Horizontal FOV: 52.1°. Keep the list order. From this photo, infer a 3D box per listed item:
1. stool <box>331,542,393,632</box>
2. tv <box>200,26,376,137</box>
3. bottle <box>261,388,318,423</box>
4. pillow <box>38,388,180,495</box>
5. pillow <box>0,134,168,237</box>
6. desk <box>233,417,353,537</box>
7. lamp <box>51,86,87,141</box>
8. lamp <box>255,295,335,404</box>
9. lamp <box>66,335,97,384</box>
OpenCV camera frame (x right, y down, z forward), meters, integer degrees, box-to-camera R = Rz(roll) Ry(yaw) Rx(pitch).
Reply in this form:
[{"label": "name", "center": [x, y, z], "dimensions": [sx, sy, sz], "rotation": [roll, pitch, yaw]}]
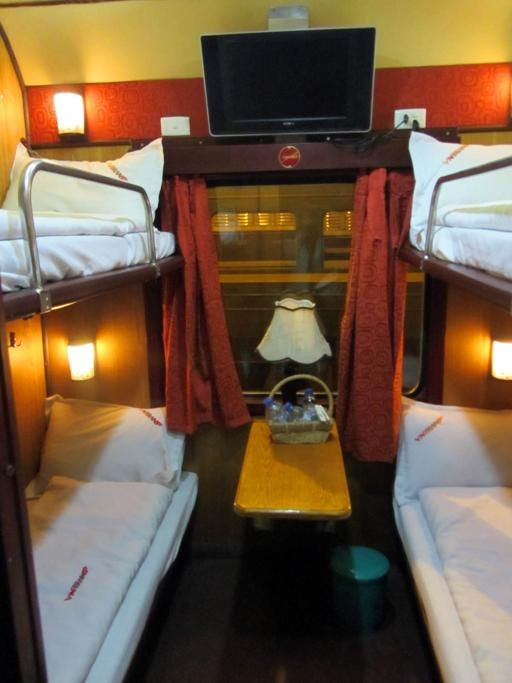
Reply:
[{"label": "stool", "center": [0.491, 1.133, 2.499], "dimensions": [0.288, 0.295, 0.298], "rotation": [2, 22, 11]}, {"label": "tv", "center": [0.141, -1.150, 2.346], "dimensions": [0.753, 0.397, 0.182], "rotation": [-1, 14, 5]}, {"label": "bottle", "center": [0.183, 0.348, 2.661], "dimensions": [0.195, 0.119, 0.192], "rotation": [-1, 7, 0]}, {"label": "pillow", "center": [-0.745, 0.472, 2.621], "dimensions": [0.530, 0.156, 0.443], "rotation": [11, 54, -8]}, {"label": "pillow", "center": [-0.768, -0.640, 2.394], "dimensions": [0.651, 0.581, 0.189], "rotation": [7, -18, -19]}, {"label": "desk", "center": [0.168, 0.608, 2.460], "dimensions": [0.489, 0.187, 0.831], "rotation": [3, 20, 4]}, {"label": "lamp", "center": [-0.966, -1.162, 2.725], "dimensions": [0.137, 0.220, 0.110], "rotation": [-8, 15, -23]}, {"label": "lamp", "center": [0.239, -0.076, 3.005], "dimensions": [0.457, 0.312, 0.339], "rotation": [2, 15, 15]}, {"label": "lamp", "center": [-0.981, 0.124, 2.981], "dimensions": [0.207, 0.303, 0.188], "rotation": [1, 37, -20]}]
